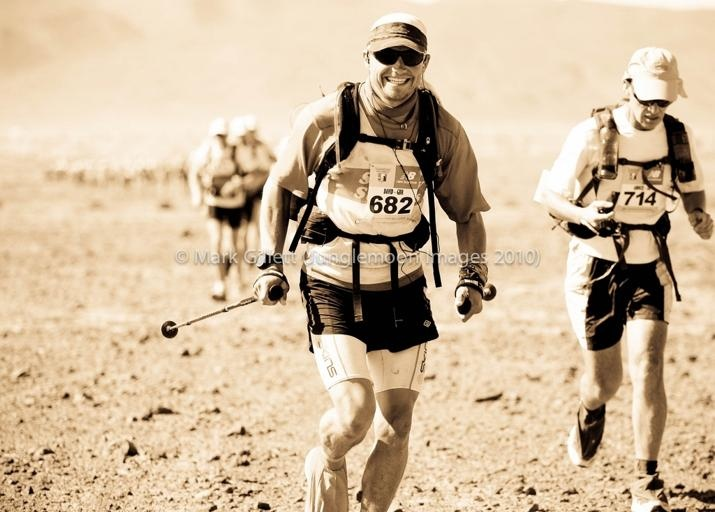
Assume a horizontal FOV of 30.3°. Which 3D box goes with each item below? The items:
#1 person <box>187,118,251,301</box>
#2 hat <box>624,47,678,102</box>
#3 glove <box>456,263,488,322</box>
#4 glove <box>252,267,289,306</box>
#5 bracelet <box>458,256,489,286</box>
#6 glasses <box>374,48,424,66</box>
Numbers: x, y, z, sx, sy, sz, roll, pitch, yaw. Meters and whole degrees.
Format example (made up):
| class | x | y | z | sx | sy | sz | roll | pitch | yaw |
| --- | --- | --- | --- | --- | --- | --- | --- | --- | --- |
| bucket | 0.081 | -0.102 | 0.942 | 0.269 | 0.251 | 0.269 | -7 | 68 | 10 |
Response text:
| class | x | y | z | sx | sy | sz | roll | pitch | yaw |
| --- | --- | --- | --- | --- | --- | --- | --- | --- | --- |
| person | -2.075 | -0.715 | 19.972 | 0.772 | 2.660 | 1.049 | -3 | 10 | -15 |
| hat | 3.231 | -1.993 | 14.486 | 0.454 | 0.355 | 0.669 | 2 | 19 | -1 |
| glove | 1.225 | 0.324 | 14.267 | 0.236 | 0.248 | 0.761 | 7 | 50 | 8 |
| glove | -0.918 | 0.321 | 14.092 | 0.374 | 0.390 | 0.226 | -2 | 10 | -6 |
| bracelet | 1.234 | 0.170 | 14.286 | 0.266 | 0.337 | 0.333 | 6 | -14 | -22 |
| glasses | 0.434 | -2.117 | 13.989 | 0.525 | 0.192 | 0.086 | -2 | 9 | -7 |
